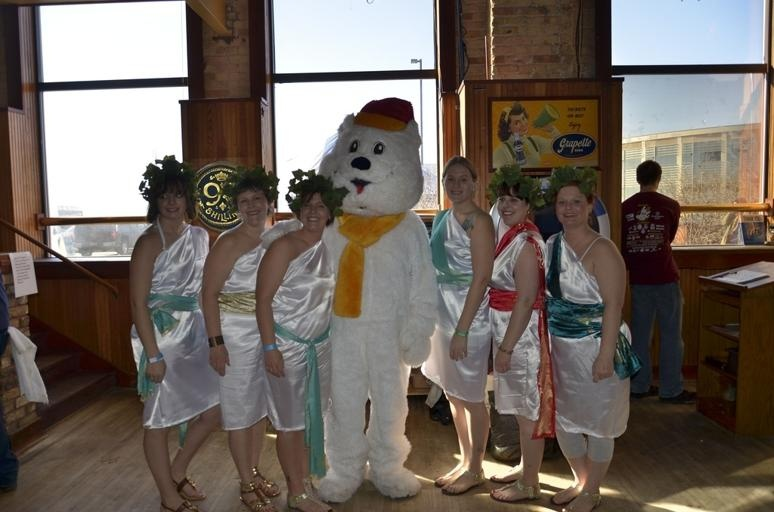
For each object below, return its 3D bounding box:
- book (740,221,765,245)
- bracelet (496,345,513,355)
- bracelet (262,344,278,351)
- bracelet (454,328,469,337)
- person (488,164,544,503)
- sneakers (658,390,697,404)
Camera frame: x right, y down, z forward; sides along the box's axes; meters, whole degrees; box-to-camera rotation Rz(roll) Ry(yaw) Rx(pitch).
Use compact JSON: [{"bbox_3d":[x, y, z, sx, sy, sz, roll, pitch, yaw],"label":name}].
[{"bbox_3d":[3.868,-0.213,7.249,0.280,0.300,0.212,-1,-2,8],"label":"book"},{"bbox_3d":[0.856,0.694,4.929,0.107,0.071,0.061,1,9,14],"label":"bracelet"},{"bbox_3d":[-0.838,0.653,4.797,0.096,0.065,0.037,-3,9,-11],"label":"bracelet"},{"bbox_3d":[0.549,0.573,5.013,0.104,0.055,0.052,-1,9,2],"label":"bracelet"},{"bbox_3d":[0.989,0.588,5.061,0.471,2.515,0.484,0,9,8],"label":"person"},{"bbox_3d":[2.776,1.358,6.418,0.365,0.073,0.186,-3,10,-13],"label":"sneakers"}]
